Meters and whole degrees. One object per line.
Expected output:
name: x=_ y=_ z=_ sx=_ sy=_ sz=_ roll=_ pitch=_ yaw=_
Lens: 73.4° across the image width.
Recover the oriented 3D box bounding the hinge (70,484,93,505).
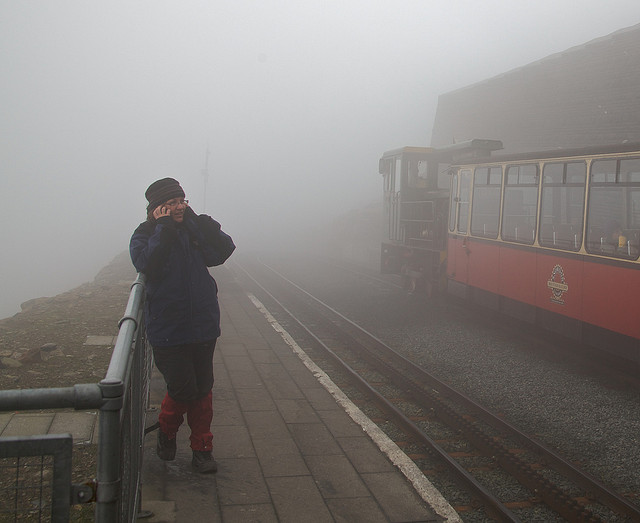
hinge: x=-0.874 y=0.851 z=1.565 sx=0.023 sy=0.057 sz=0.070 roll=-6 pitch=-12 yaw=35

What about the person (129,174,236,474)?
person: x=-1.143 y=0.582 z=3.556 sx=0.846 sy=2.536 sz=0.656 roll=-9 pitch=10 yaw=-41

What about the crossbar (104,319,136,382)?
crossbar: x=-0.923 y=0.425 z=1.981 sx=0.065 sy=0.073 sz=0.451 roll=-14 pitch=24 yaw=-10
